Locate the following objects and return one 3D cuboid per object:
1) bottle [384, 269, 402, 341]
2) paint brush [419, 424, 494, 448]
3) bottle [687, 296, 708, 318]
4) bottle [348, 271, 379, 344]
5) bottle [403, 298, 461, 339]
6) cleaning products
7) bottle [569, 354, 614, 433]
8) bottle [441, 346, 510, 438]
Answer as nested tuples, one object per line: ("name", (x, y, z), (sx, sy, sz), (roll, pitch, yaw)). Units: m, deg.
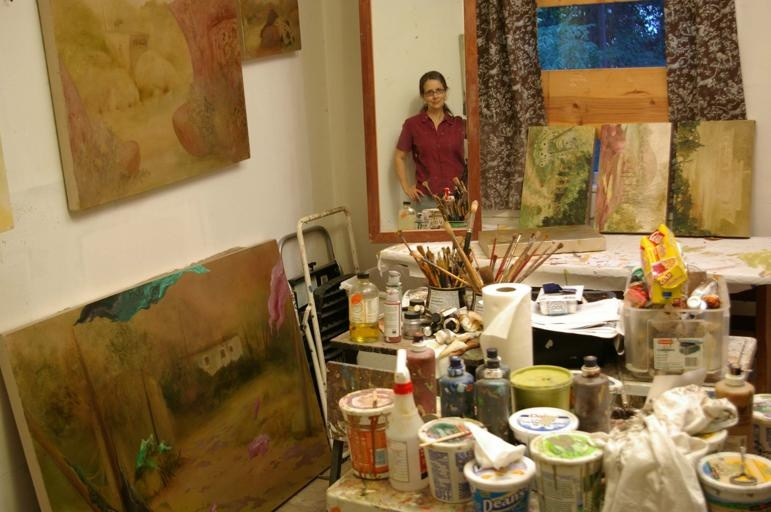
("bottle", (0.030, 0.217, 2.481), (0.073, 0.264, 0.198), (-3, 13, 2))
("paint brush", (0.180, 0.494, 1.659), (0.135, 0.033, 0.087), (-17, 13, -21))
("bottle", (1.076, 0.174, 2.011), (0.066, 0.062, 0.064), (-10, 5, -5))
("bottle", (-0.097, 0.223, 2.512), (0.131, 0.269, 0.175), (-4, 13, -4))
("bottle", (0.192, 0.284, 2.451), (0.189, 0.085, 0.139), (-19, 22, -13))
("cleaning products", (0.059, 0.508, 1.752), (0.116, 0.402, 0.188), (-8, 14, -16))
("bottle", (0.650, 0.436, 1.822), (0.110, 0.228, 0.114), (-3, 13, 1))
("bottle", (0.291, 0.444, 1.841), (0.207, 0.286, 0.112), (-12, 6, 12))
